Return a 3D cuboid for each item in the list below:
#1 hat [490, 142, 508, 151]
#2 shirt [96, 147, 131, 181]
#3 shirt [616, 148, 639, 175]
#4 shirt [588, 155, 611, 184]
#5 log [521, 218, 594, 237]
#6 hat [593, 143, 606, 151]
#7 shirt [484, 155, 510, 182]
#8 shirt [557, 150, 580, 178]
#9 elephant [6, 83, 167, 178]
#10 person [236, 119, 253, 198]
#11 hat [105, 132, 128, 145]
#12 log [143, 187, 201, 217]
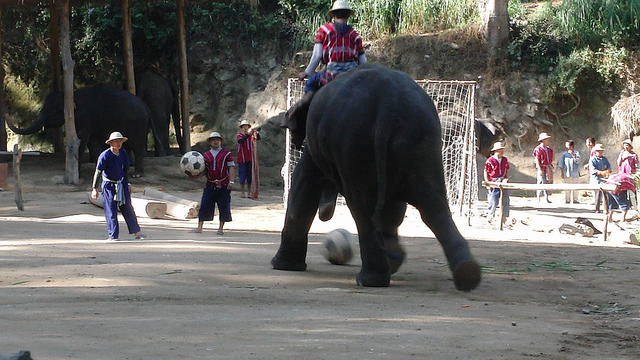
[{"bbox_3d":[6.724,-1.300,32.147,0.619,0.210,0.546,-13,-5,-29],"label":"hat"},{"bbox_3d":[-6.358,-0.508,26.847,1.237,0.979,0.624,-8,20,-43],"label":"shirt"},{"bbox_3d":[11.170,-0.695,31.618,0.623,0.921,1.255,1,3,18],"label":"shirt"},{"bbox_3d":[10.476,-0.356,32.679,0.898,1.118,0.691,-7,12,-22],"label":"shirt"},{"bbox_3d":[8.131,1.561,30.002,3.097,0.505,0.587,4,-19,29],"label":"log"},{"bbox_3d":[11.150,-1.314,34.801,0.580,0.194,0.545,-10,6,9],"label":"hat"},{"bbox_3d":[6.475,-0.440,31.961,0.646,0.918,0.650,3,4,39],"label":"shirt"},{"bbox_3d":[10.128,-0.630,35.384,1.252,1.311,0.773,-1,-12,10],"label":"shirt"},{"bbox_3d":[-8.833,-2.000,34.524,4.105,3.589,1.538,0,3,-10],"label":"elephant"},{"bbox_3d":[-2.883,-0.804,33.856,0.579,2.901,0.896,0,3,-5],"label":"person"},{"bbox_3d":[-6.284,-1.297,26.962,0.502,0.349,0.880,-1,3,-17],"label":"hat"},{"bbox_3d":[-5.218,0.780,30.579,3.074,0.509,0.495,10,-12,37],"label":"log"}]
